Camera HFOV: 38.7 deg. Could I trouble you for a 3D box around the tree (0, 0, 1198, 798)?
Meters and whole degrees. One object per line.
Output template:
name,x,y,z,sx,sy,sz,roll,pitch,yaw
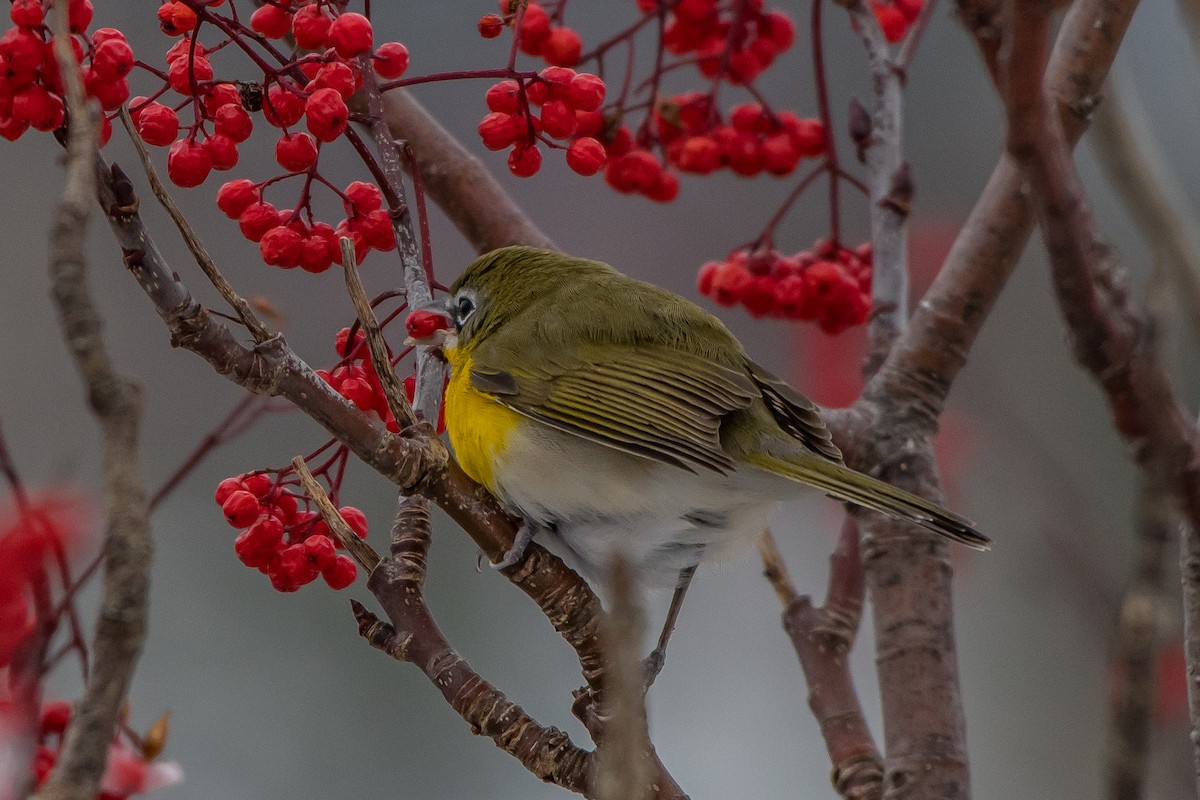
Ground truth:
tree,-0.038,0.097,4.372,2.152,2.247,1.979,0,-7,-10
